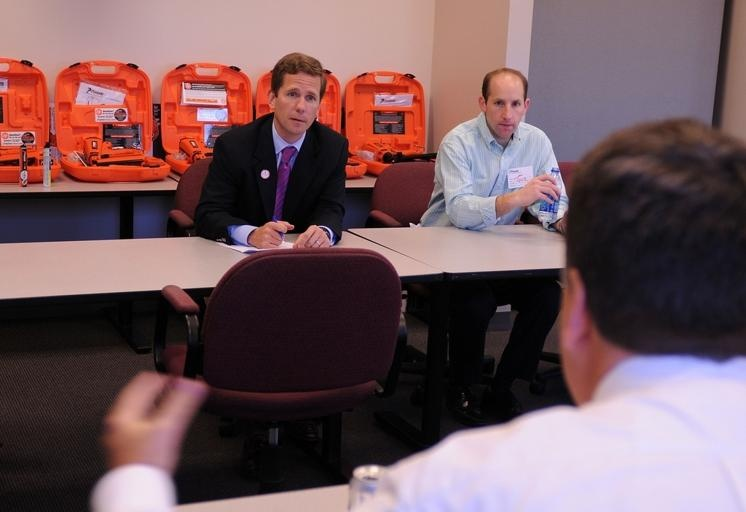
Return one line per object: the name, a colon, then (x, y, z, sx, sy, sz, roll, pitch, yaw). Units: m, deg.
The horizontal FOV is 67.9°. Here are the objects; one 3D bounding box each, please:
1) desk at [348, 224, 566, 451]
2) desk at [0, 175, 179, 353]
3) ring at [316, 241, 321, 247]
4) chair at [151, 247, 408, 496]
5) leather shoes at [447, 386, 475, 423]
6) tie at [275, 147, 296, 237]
desk: (0.322, 0.369, 2.734, 1.176, 0.723, 0.934, -7, 20, -28)
desk: (-1.781, -0.015, 3.927, 1.065, 0.984, 1.052, 1, 12, -4)
ring: (-0.232, -0.053, 2.330, 0.020, 0.023, 0.020, 3, 13, -1)
chair: (-0.341, 0.383, 1.982, 0.794, 0.856, 0.800, 6, 3, -2)
leather shoes: (0.441, 0.744, 2.752, 0.163, 0.089, 0.123, 23, 0, -6)
tie: (-0.428, -0.328, 2.741, 0.073, 0.514, 0.075, 5, 6, -8)
